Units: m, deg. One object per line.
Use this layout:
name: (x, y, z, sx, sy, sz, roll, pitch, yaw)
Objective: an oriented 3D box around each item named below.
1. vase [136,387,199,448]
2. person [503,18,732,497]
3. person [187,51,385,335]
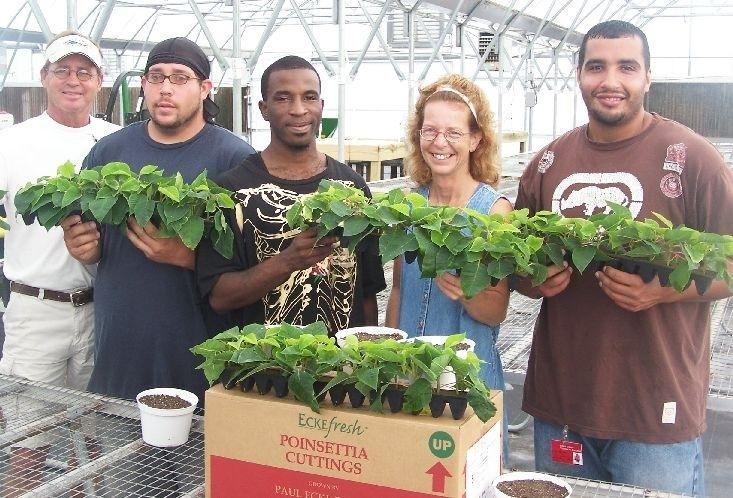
vase: (-0.814, 0.661, 2.529, 0.221, 0.151, 0.210, 8, 6, -37)
person: (1.149, 0.078, 2.842, 0.913, 2.161, 0.598, 1, 6, 12)
person: (-0.372, -0.213, 2.891, 0.879, 1.329, 0.688, 0, 6, 1)
